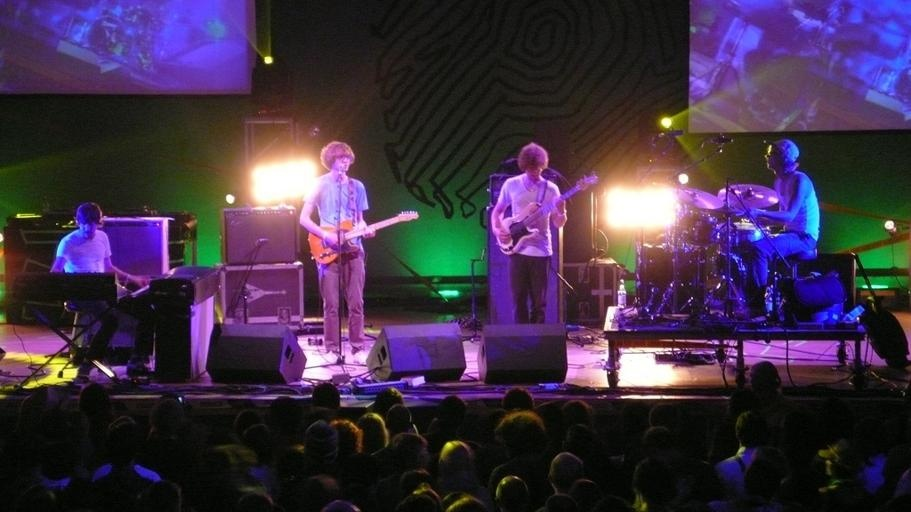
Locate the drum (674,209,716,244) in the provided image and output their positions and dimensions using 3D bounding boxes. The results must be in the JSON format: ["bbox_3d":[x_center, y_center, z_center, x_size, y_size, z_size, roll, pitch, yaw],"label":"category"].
[{"bbox_3d":[3.309,-0.413,11.136,0.586,0.548,0.361,-4,-10,24],"label":"drum"}]

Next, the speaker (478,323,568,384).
[{"bbox_3d":[0.727,1.074,9.926,1.089,0.622,0.818,1,22,-19],"label":"speaker"}]

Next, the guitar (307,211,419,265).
[{"bbox_3d":[-1.318,-0.250,11.026,1.202,0.740,0.533,4,-10,-23],"label":"guitar"}]

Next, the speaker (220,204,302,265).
[{"bbox_3d":[-3.032,-0.210,12.242,1.222,0.927,0.693,-3,-9,-37],"label":"speaker"}]

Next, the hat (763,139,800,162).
[{"bbox_3d":[4.293,-1.384,10.650,0.337,0.371,0.324,-5,-10,28],"label":"hat"}]

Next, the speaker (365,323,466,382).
[{"bbox_3d":[-0.449,1.131,10.086,1.071,0.610,0.853,-3,14,-11],"label":"speaker"}]

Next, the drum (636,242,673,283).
[{"bbox_3d":[2.787,0.123,11.276,0.516,0.473,0.498,1,-3,-18],"label":"drum"}]

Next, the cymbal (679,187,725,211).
[{"bbox_3d":[3.303,-0.786,11.054,0.419,0.408,0.092,25,-41,20],"label":"cymbal"}]

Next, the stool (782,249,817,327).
[{"bbox_3d":[4.303,0.395,10.277,0.314,0.948,0.777,-4,-10,23],"label":"stool"}]

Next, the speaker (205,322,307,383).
[{"bbox_3d":[-2.443,1.162,10.001,1.041,0.610,0.875,-1,6,13],"label":"speaker"}]
